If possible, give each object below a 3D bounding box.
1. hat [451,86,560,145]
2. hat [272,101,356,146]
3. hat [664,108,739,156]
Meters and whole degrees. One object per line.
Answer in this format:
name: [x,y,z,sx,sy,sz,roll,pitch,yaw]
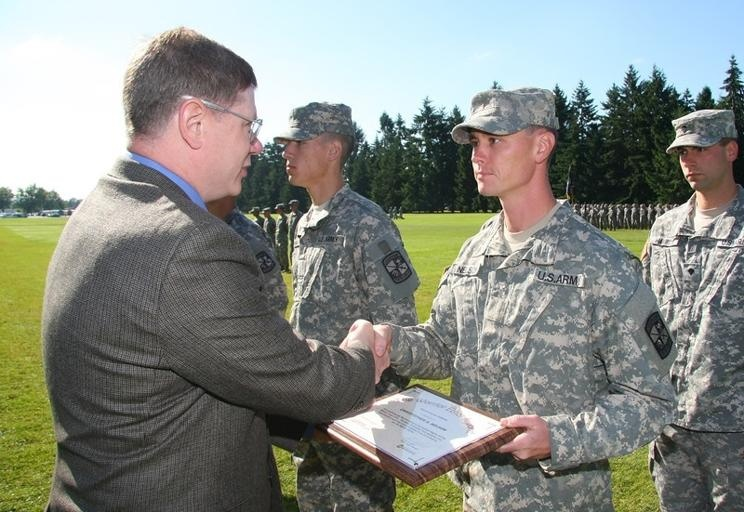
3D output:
hat: [0.827,-0.904,3.969,0.743,0.272,0.516,-13,14,-30]
hat: [-0.487,-1.106,5.320,0.777,0.336,0.531,-6,7,-26]
hat: [2.721,-1.044,5.315,0.571,0.327,0.436,-1,-1,-21]
